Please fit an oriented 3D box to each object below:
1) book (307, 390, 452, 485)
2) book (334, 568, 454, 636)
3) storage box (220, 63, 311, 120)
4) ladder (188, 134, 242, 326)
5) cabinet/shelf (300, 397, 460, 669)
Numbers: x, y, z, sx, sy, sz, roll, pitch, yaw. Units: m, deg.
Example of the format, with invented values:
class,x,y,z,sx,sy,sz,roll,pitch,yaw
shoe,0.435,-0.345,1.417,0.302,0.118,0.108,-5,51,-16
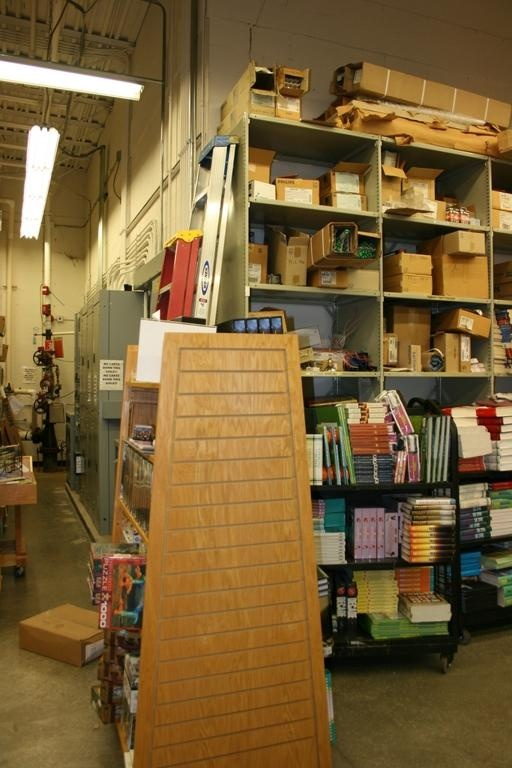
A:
class,x,y,z,sx,sy,sz,roll,pitch,yaw
book,0.517,0.247,2.759,0.483,0.176,0.391,-1,19,-9
book,0.585,0.987,2.778,0.323,0.090,0.356,0,7,-3
storage box,0.044,-1.436,3.231,0.256,0.230,0.409,1,4,-15
ladder,-0.205,-0.737,3.086,0.184,0.952,0.475,3,-5,-6
cabinet/shelf,0.560,0.846,2.970,0.806,0.886,0.280,-14,-17,34
